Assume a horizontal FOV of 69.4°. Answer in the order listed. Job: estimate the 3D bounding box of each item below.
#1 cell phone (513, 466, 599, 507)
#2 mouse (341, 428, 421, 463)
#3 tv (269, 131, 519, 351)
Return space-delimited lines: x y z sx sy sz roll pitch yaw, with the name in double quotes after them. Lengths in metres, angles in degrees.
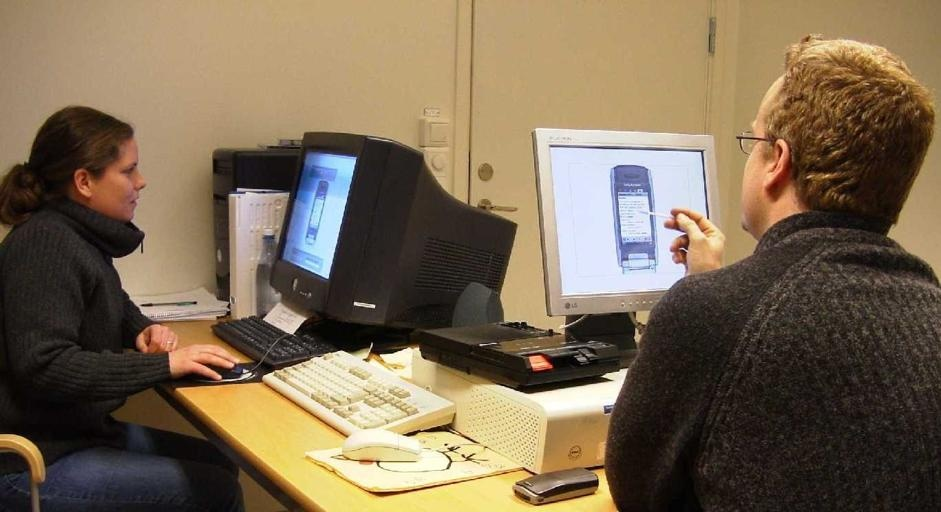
0.231 0.604 1.812 0.178 0.040 0.091 -5 11 -24 "cell phone"
-0.238 0.527 1.872 0.188 0.052 0.094 0 6 -8 "mouse"
-0.332 -0.083 2.907 0.877 0.612 0.844 10 4 -21 "tv"
